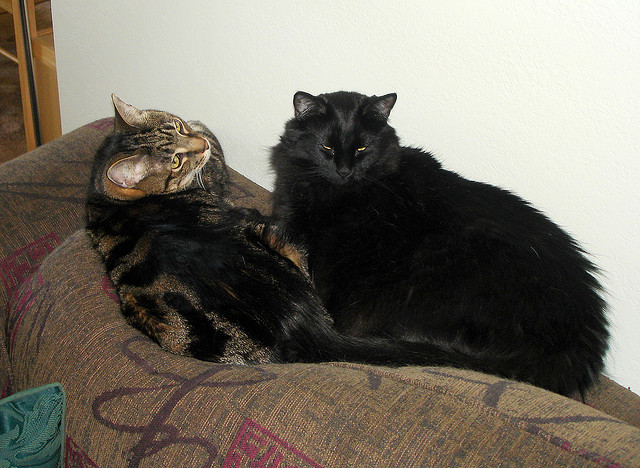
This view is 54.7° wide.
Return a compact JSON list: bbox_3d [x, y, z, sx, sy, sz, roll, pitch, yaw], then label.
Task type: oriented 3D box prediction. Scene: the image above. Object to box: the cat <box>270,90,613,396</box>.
[{"bbox_3d":[0.323,-0.005,1.629,1.031,0.609,0.461,26,-57,23],"label":"cat"}]
